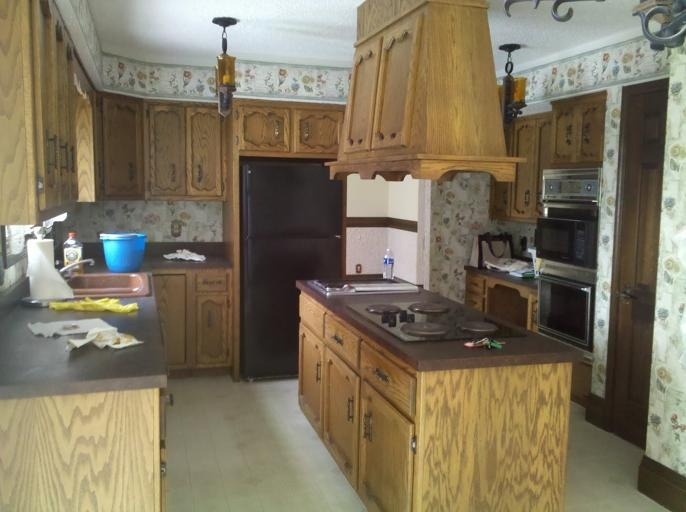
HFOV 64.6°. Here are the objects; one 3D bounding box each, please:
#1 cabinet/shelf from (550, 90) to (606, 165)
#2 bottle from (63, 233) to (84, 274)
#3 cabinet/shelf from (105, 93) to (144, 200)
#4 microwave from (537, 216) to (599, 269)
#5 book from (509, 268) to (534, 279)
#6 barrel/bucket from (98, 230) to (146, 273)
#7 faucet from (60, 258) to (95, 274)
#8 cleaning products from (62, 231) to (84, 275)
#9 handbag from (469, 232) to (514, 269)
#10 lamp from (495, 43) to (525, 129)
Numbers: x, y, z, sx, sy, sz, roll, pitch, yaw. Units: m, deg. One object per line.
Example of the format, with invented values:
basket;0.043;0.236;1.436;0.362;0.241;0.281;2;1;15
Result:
cabinet/shelf;2.008;-1.027;4.565;0.285;0.585;0.456;0;3;-44
bottle;-2.118;0.003;4.265;0.155;0.379;0.124;0;-22;-31
cabinet/shelf;-2.019;-1.000;4.987;0.371;1.027;0.121;-2;-10;-19
microwave;1.770;-0.081;4.718;0.653;0.430;0.413;5;-3;-19
book;1.696;0.166;5.153;0.222;0.068;0.167;4;10;15
barrel/bucket;-1.851;-0.037;4.597;0.330;0.306;0.318;0;-1;0
faucet;-1.917;0.068;3.872;0.206;0.060;0.212;-6;6;44
cleaning products;-2.116;0.010;4.262;0.153;0.380;0.125;-2;-22;-28
handbag;1.579;-0.047;5.671;0.432;0.407;0.179;0;7;-14
lamp;1.389;-1.421;4.508;0.218;0.667;0.932;4;10;15
